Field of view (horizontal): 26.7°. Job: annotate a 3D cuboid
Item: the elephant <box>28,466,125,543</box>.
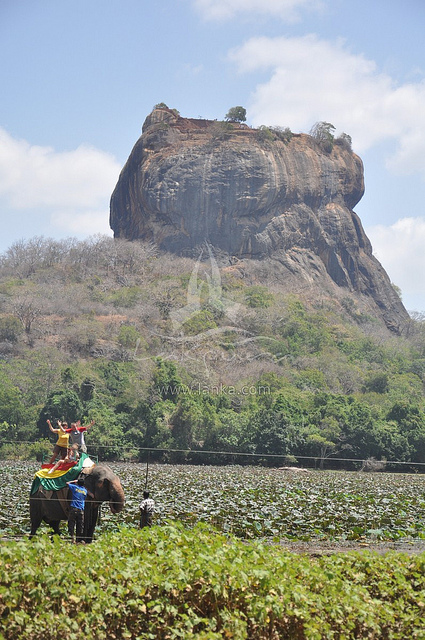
[{"bbox_3d":[-1.806,2.453,11.928,1.388,0.981,0.633,-6,-8,13],"label":"elephant"}]
